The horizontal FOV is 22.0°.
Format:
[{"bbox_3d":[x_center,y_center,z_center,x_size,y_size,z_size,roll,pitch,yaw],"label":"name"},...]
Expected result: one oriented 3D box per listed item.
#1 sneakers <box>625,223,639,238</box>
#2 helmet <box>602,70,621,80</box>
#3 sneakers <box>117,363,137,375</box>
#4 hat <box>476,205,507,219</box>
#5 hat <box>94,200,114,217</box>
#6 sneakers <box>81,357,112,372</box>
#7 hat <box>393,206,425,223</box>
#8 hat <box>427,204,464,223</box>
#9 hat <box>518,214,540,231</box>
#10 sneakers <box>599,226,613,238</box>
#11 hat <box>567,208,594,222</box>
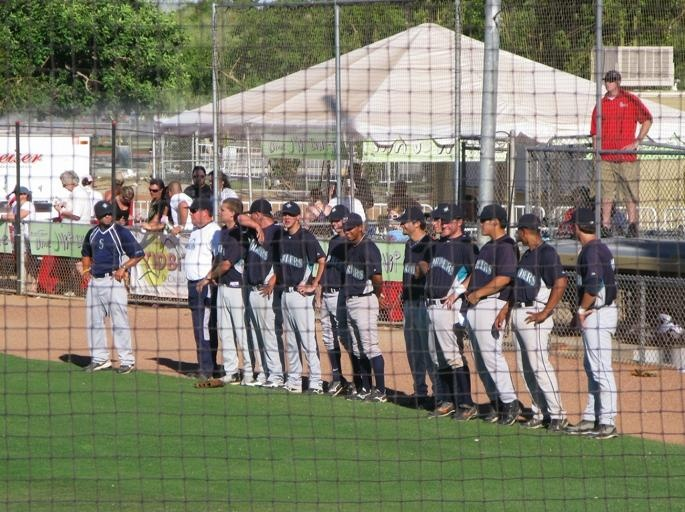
[{"bbox_3d":[3.662,-0.343,22.283,0.145,0.189,0.159,0,-6,2],"label":"sneakers"},{"bbox_3d":[3.378,-2.288,22.094,0.185,0.170,0.141,2,3,38],"label":"helmet"},{"bbox_3d":[-2.671,1.414,21.790,0.206,0.125,0.351,-2,3,-8],"label":"sneakers"},{"bbox_3d":[1.731,-0.505,20.178,0.213,0.121,0.165,4,5,31],"label":"hat"},{"bbox_3d":[-2.924,-0.599,21.632,0.154,0.150,0.250,-9,1,-24],"label":"hat"},{"bbox_3d":[-3.025,1.359,21.858,0.379,0.198,0.151,1,4,-23],"label":"sneakers"},{"bbox_3d":[0.830,-0.503,20.790,0.224,0.150,0.178,3,0,-8],"label":"hat"},{"bbox_3d":[1.228,-0.504,20.535,0.272,0.158,0.213,0,0,-14],"label":"hat"},{"bbox_3d":[2.133,-0.393,20.142,0.257,0.189,0.320,-1,3,8],"label":"hat"},{"bbox_3d":[3.422,-0.320,22.817,0.156,0.237,0.080,-6,5,2],"label":"sneakers"},{"bbox_3d":[2.726,-0.470,19.951,0.257,0.165,0.385,-1,3,9],"label":"hat"}]
